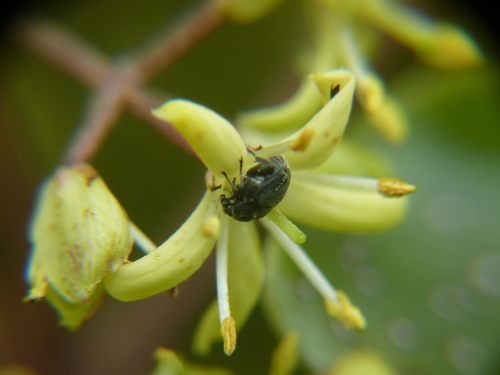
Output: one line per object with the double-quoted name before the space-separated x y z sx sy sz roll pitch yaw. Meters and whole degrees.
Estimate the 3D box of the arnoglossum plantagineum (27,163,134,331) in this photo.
"arnoglossum plantagineum" -0.352 0.103 1.108 0.199 0.305 0.090 1 6 6

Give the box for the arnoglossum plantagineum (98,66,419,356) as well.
"arnoglossum plantagineum" -0.025 -0.055 1.280 0.248 0.661 0.635 -24 62 -41
